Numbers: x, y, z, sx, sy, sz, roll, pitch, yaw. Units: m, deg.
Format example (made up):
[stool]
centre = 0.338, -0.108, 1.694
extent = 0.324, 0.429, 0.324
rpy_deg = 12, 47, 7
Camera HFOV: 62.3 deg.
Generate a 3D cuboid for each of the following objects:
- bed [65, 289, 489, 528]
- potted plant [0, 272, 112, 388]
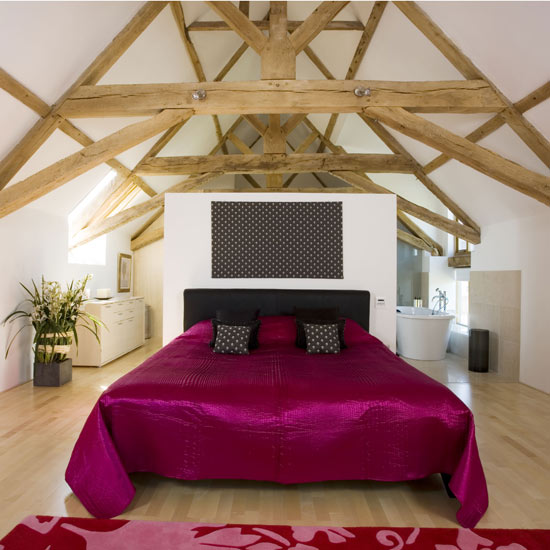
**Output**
[bed]
centre = 0.047, 0.876, 3.659
extent = 2.477, 0.840, 2.234
rpy_deg = 0, 6, 2
[potted plant]
centre = -2.505, 0.641, 5.329
extent = 1.171, 1.092, 1.102
rpy_deg = 1, -4, -5
